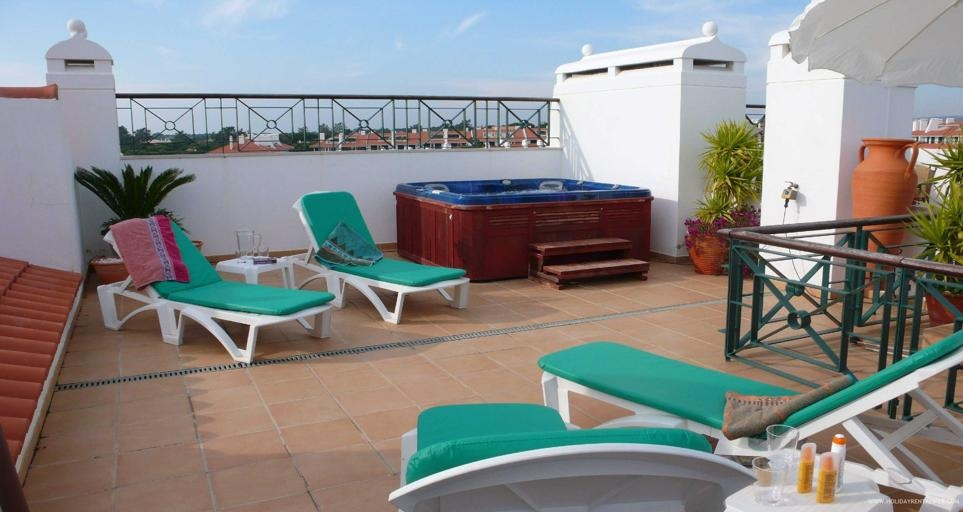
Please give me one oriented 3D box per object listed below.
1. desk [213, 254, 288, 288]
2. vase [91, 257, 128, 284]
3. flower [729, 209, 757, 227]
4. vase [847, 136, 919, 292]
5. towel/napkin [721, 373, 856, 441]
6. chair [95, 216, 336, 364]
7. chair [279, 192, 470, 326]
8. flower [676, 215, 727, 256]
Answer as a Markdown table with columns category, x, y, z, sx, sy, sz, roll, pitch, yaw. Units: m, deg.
| category | x | y | z | sx | sy | sz | roll | pitch | yaw |
| --- | --- | --- | --- | --- | --- | --- | --- | --- | --- |
| desk | -2.934 | 0.143 | 7.458 | 0.712 | 0.347 | 0.706 | -10 | 16 | -44 |
| vase | -5.267 | 0.174 | 8.472 | 0.605 | 0.354 | 0.582 | -5 | 8 | -31 |
| flower | 4.016 | -0.580 | 9.116 | 0.403 | 0.119 | 0.359 | 5 | 17 | 20 |
| vase | 4.959 | -0.958 | 7.345 | 0.686 | 0.977 | 0.614 | 5 | 16 | 27 |
| towel/napkin | 2.141 | 1.185 | 4.276 | 0.730 | 0.189 | 0.630 | -11 | 8 | 6 |
| chair | -3.157 | 0.336 | 7.036 | 3.088 | 1.121 | 1.417 | 9 | 19 | 18 |
| chair | -1.370 | -0.113 | 8.040 | 2.783 | 1.188 | 1.410 | 12 | 18 | 35 |
| flower | 3.431 | -0.327 | 9.271 | 0.596 | 0.468 | 0.537 | -7 | 22 | -31 |
